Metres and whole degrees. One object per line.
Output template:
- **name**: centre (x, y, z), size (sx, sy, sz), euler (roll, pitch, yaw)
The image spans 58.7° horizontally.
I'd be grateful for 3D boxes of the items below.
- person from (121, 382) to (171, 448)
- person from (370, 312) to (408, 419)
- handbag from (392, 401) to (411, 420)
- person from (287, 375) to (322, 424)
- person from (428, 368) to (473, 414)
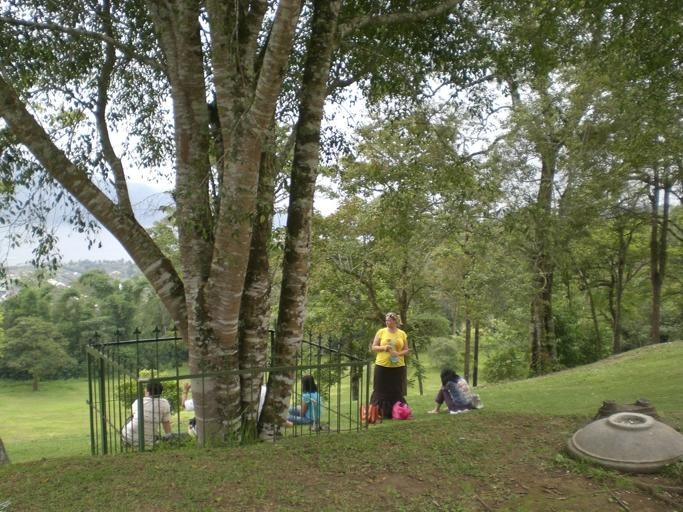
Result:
- **person**: centre (-3.662, 2.872, 11.376), size (0.831, 1.415, 1.801), euler (-1, 4, -19)
- **person**: centre (0.976, 2.204, 12.286), size (0.713, 2.107, 0.813), euler (1, 4, 3)
- **handbag**: centre (1.230, 3.106, 12.212), size (0.357, 0.359, 0.265), euler (-4, -2, 15)
- **person**: centre (-0.767, 2.892, 12.092), size (0.595, 1.149, 1.407), euler (1, 4, -5)
- **person**: centre (2.302, 2.761, 12.611), size (0.769, 0.854, 0.636), euler (-2, 2, 16)
